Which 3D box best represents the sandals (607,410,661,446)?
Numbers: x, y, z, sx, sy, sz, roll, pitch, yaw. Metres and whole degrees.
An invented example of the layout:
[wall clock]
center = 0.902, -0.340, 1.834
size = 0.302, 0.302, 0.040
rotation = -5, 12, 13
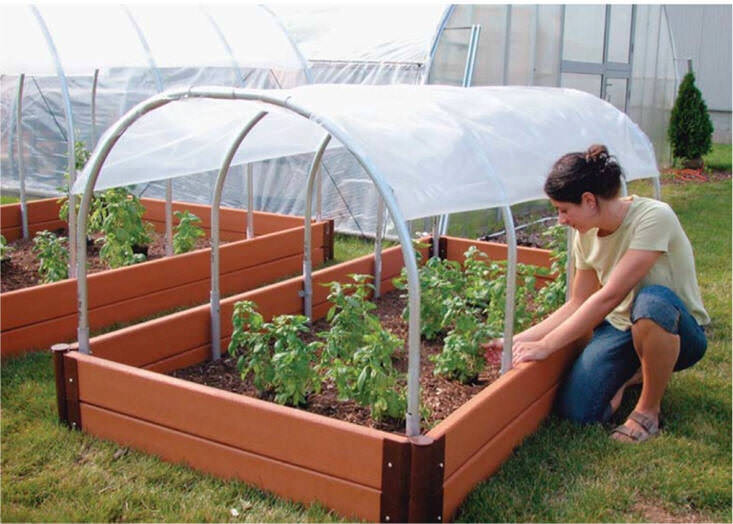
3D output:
[sandals]
center = 1.672, 0.979, 3.681
size = 0.406, 0.135, 0.155
rotation = -6, 15, -20
